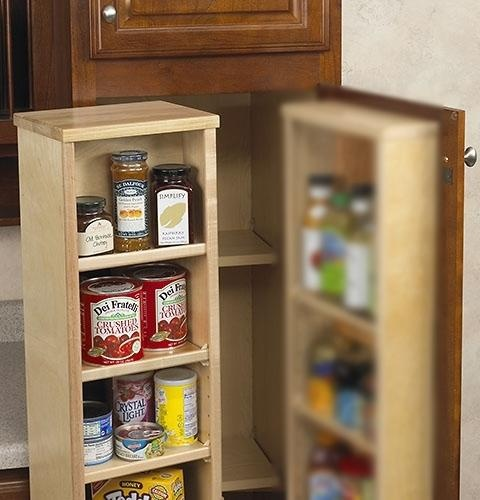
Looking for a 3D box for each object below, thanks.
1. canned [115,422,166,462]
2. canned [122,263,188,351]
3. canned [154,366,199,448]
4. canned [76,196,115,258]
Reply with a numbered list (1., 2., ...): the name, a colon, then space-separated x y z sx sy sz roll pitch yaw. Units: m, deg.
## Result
1. canned: -0.182 0.347 1.049 0.081 0.056 0.075 2 -2 -27
2. canned: -0.146 0.107 1.130 0.144 0.145 0.141 -2 8 -15
3. canned: -0.122 0.300 1.106 0.081 0.139 0.090 0 -3 36
4. canned: -0.237 -0.035 0.949 0.059 0.096 0.037 2 -2 -13
